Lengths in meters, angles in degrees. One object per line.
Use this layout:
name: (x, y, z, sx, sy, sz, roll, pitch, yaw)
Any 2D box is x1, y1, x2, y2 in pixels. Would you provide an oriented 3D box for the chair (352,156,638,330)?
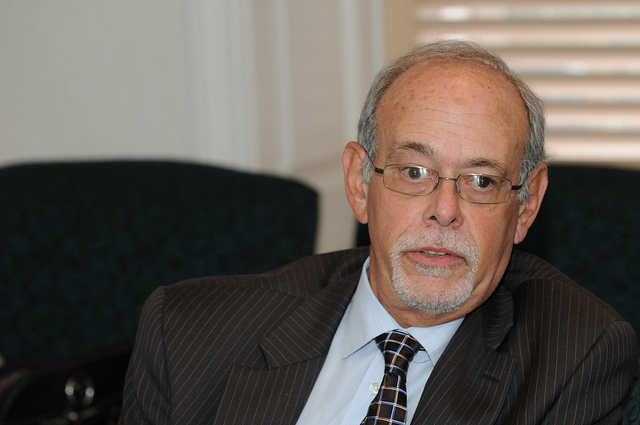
chair: (0.861, 0.212, 3.241, 0.777, 0.984, 1.079, 1, 21, -3)
